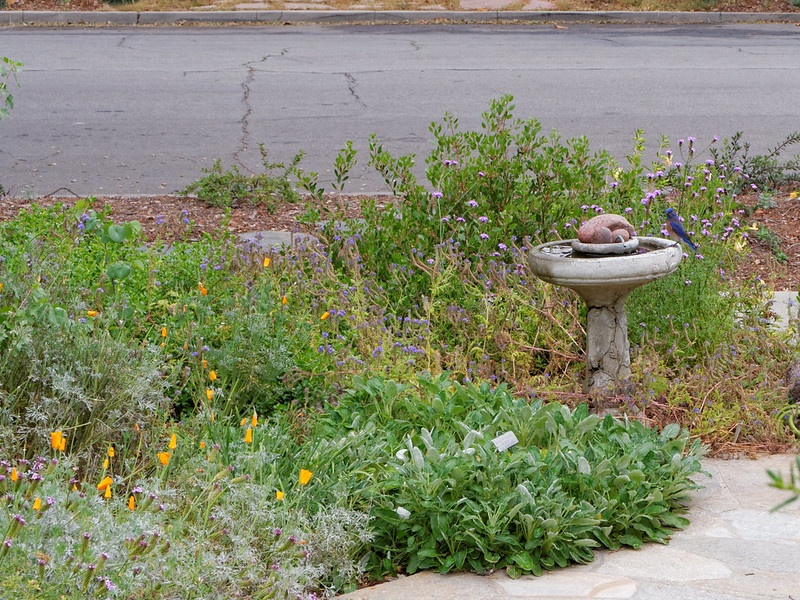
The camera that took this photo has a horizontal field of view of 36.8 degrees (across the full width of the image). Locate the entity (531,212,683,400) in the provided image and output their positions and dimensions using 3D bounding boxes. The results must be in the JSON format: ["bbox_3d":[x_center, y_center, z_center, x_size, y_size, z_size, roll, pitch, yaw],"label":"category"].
[{"bbox_3d":[1.446,-0.011,8.821,1.122,1.494,1.180,-1,17,7],"label":"entity"}]
